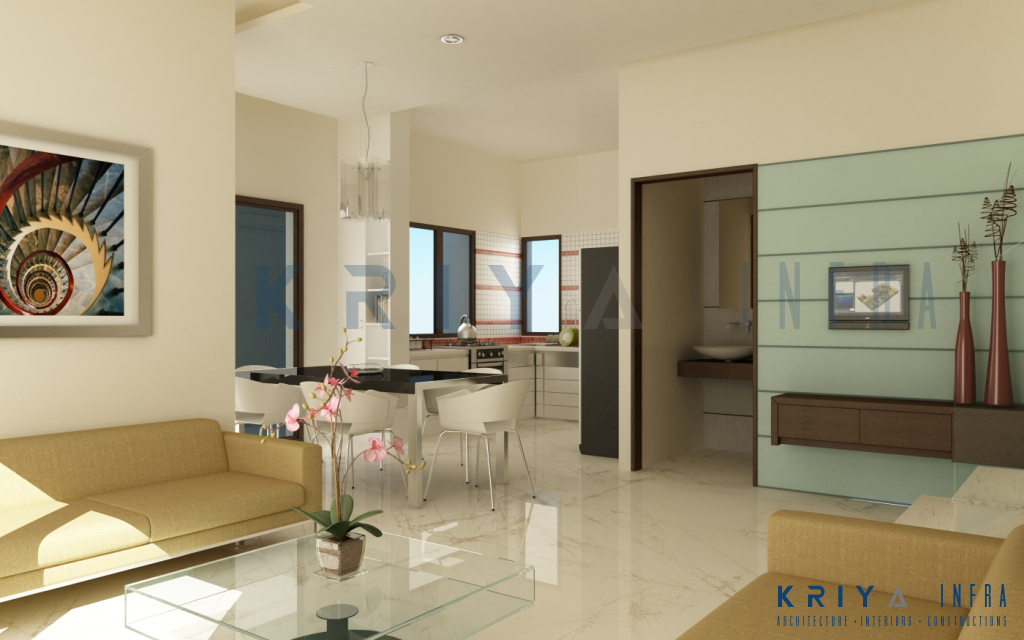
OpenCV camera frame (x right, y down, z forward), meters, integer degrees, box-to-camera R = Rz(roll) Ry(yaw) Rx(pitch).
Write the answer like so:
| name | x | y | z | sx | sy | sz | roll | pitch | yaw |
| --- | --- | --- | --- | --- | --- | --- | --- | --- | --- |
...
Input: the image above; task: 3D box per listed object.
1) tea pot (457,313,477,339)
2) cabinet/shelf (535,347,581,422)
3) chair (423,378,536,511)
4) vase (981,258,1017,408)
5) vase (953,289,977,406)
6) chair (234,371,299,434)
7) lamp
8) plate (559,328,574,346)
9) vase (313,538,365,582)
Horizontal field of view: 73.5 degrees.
| name | x | y | z | sx | sy | sz | roll | pitch | yaw |
| --- | --- | --- | --- | --- | --- | --- | --- | --- | --- |
| tea pot | -0.694 | 0.145 | 9.963 | 0.261 | 0.340 | 0.398 | 1 | -5 | -15 |
| cabinet/shelf | 0.688 | 0.993 | 10.248 | 0.707 | 1.007 | 0.204 | 4 | 8 | 39 |
| chair | -0.289 | 1.170 | 6.929 | 1.152 | 1.506 | 1.140 | 0 | -2 | 27 |
| vase | 3.967 | 0.107 | 5.557 | 0.185 | 1.169 | 0.342 | 4 | 8 | 35 |
| vase | 3.734 | 0.232 | 5.638 | 0.147 | 0.918 | 0.278 | 3 | 8 | 31 |
| chair | -2.400 | 0.781 | 6.666 | 0.657 | 0.549 | 0.536 | -2 | 1 | -37 |
| lamp | -1.712 | -1.967 | 8.099 | 0.497 | 1.630 | 1.735 | -2 | 6 | -9 |
| plate | 0.845 | 0.267 | 10.293 | 0.244 | 0.238 | 0.060 | 9 | -3 | 44 |
| vase | -0.957 | 1.331 | 3.878 | 0.232 | 0.201 | 0.238 | 1 | 0 | 42 |
